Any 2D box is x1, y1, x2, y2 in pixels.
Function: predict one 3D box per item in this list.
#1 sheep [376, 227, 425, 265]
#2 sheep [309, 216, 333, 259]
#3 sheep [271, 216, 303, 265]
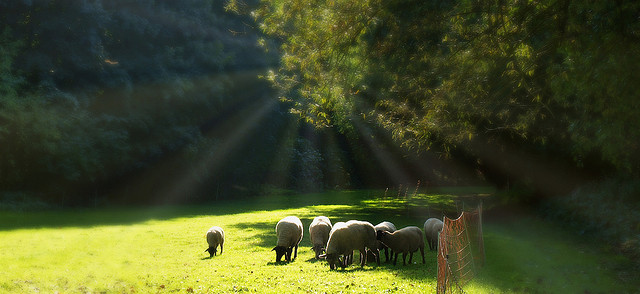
[{"bbox_3d":[6.907,8.702,39.315,5.483,3.128,2.373,3,-9,-30],"label":"sheep"},{"bbox_3d":[0.074,7.851,39.698,1.892,3.109,1.801,2,-1,1],"label":"sheep"},{"bbox_3d":[-2.803,8.106,39.567,1.678,3.404,3.007,1,4,26],"label":"sheep"}]
